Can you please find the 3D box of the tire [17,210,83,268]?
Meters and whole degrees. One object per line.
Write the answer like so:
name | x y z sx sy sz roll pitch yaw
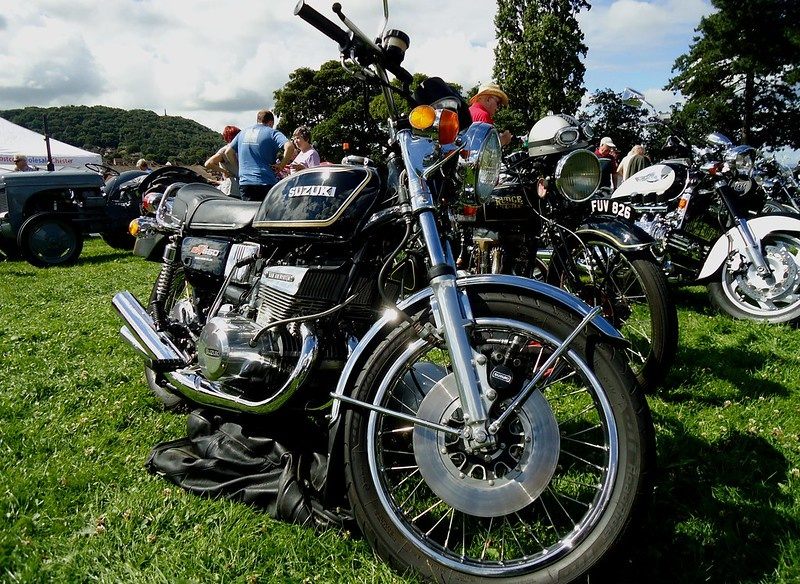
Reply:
tire | -6.227 -0.935 10.570 0.294 1.059 0.944 -1 2 37

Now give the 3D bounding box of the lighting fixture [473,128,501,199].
lighting fixture | 0.464 -0.674 3.153 0.061 0.304 0.287 5 -7 10

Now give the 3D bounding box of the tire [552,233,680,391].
tire | 1.408 0.129 3.921 0.163 0.924 0.783 -14 38 -31

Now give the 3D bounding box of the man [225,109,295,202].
man | -1.785 -1.446 7.761 0.765 1.880 0.587 0 -3 10

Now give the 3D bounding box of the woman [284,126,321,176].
woman | -1.227 -1.770 7.656 0.320 0.674 0.608 3 -1 -31

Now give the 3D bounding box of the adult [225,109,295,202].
adult | -1.812 -1.433 7.761 0.782 1.881 0.524 0 -5 -2

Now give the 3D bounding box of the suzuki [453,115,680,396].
suzuki | 1.298 -0.357 5.262 1.339 1.742 2.496 -1 1 -30

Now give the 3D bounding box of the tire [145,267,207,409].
tire | -1.650 0.325 4.445 0.223 0.992 1.008 4 -27 -41

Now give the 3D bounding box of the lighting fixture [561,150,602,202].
lighting fixture | 1.318 -0.821 4.301 0.308 0.356 0.081 -19 6 3

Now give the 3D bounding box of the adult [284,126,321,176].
adult | -1.240 -1.771 7.677 0.325 0.678 0.614 5 -2 -32
